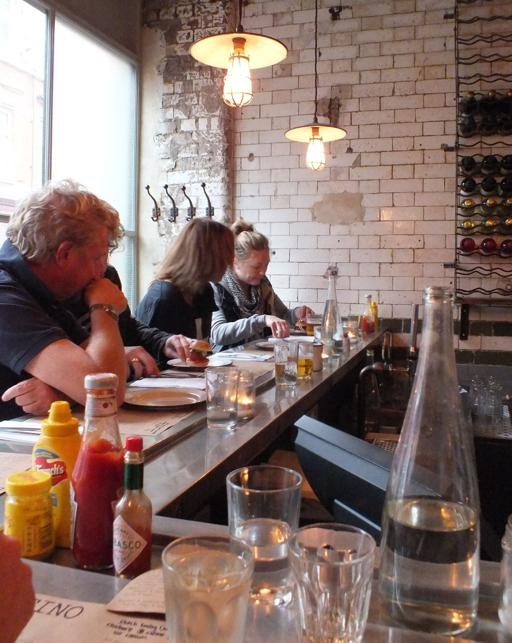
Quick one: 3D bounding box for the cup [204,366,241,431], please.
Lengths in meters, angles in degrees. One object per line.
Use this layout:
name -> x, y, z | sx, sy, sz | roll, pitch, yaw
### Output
cup -> -0.072, 0.169, 1.230 | 0.110, 0.161, 0.106 | 0, -4, 0

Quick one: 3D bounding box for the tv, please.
tv -> 0.181, 0.189, 0.806 | 0.125, 0.203, 0.225 | -18, 19, -28

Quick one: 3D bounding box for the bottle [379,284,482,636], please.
bottle -> 0.167, 0.120, 0.520 | 0.088, 0.300, 0.096 | 2, 7, 0

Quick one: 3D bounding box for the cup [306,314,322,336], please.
cup -> 0.314, 0.027, 3.109 | 0.090, 0.116, 0.121 | 2, 2, 4

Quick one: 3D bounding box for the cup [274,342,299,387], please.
cup -> 0.094, 0.126, 1.743 | 0.069, 0.136, 0.103 | 3, 7, 5

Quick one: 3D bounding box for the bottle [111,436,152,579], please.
bottle -> -0.131, 0.197, 0.607 | 0.041, 0.169, 0.062 | 1, 7, -11

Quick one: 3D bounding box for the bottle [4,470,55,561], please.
bottle -> -0.267, 0.234, 0.673 | 0.052, 0.098, 0.030 | 0, 7, -21
